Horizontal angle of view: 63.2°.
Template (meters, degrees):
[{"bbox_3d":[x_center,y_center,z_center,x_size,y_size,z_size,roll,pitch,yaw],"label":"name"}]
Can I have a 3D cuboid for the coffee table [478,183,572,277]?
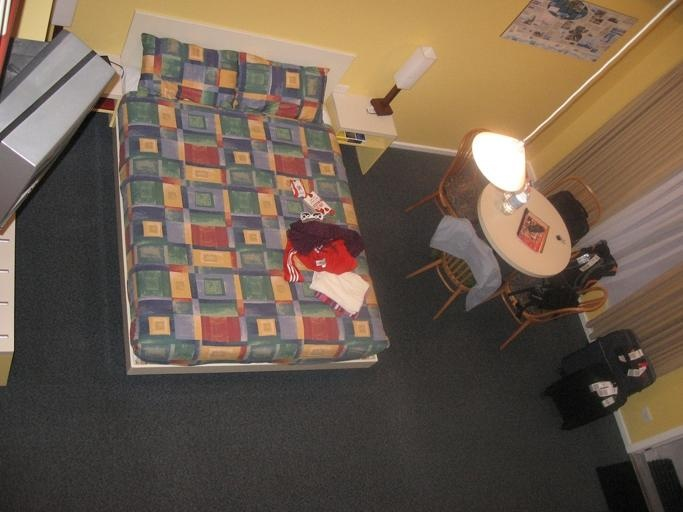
[{"bbox_3d":[1.673,-0.256,5.105,0.919,0.210,0.907,30,49,-12],"label":"coffee table"}]

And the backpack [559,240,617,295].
[{"bbox_3d":[2.303,0.101,5.174,0.536,0.418,0.205,-22,14,-6],"label":"backpack"}]

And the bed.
[{"bbox_3d":[-0.808,-0.057,4.661,1.901,1.278,2.166,1,49,-30],"label":"bed"}]

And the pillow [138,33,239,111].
[{"bbox_3d":[-1.278,-1.545,4.665,0.878,0.511,0.205,5,4,-23],"label":"pillow"}]
